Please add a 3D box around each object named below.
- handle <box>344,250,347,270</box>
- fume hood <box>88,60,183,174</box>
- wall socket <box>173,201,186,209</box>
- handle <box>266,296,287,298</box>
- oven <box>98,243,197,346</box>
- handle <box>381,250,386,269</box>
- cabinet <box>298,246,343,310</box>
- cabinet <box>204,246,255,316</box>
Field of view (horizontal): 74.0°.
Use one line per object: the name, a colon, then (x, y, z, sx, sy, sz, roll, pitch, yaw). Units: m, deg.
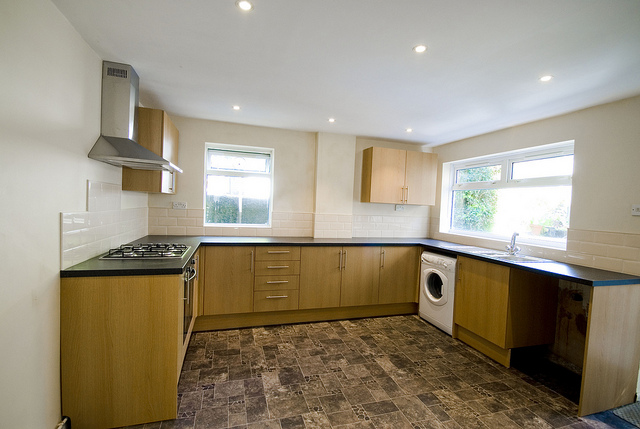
handle: (0.310, 0.572, 5.384, 0.034, 0.231, 0.009, 0, 4, -28)
fume hood: (-1.850, -0.939, 4.156, 0.688, 0.981, 0.571, 1, 3, -21)
wall socket: (-1.791, -0.111, 5.361, 0.150, 0.095, 0.026, 1, 3, -26)
handle: (-0.553, 0.998, 5.111, 0.213, 0.018, 0.010, 1, 3, -16)
oven: (-1.786, 0.978, 4.567, 0.799, 1.301, 1.399, -1, 5, -17)
handle: (0.824, 0.593, 5.536, 0.041, 0.244, 0.016, 0, 4, -35)
cabinet: (-0.063, 0.776, 5.458, 0.561, 0.749, 0.402, 4, 6, -21)
cabinet: (-1.127, 0.759, 5.167, 0.667, 0.749, 0.494, 3, 6, -18)
